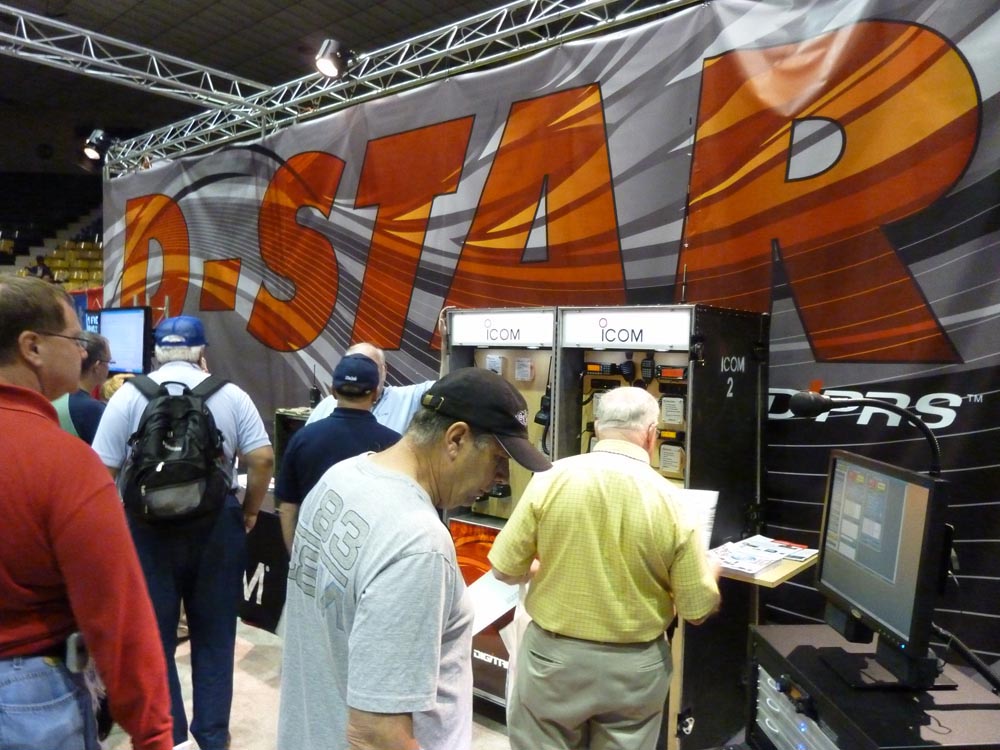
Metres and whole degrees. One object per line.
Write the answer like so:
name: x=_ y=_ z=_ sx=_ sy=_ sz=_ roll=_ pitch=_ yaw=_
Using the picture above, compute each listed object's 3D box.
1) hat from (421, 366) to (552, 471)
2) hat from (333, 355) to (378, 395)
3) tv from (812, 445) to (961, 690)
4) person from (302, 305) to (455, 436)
hat: x=-0.036 y=0.146 z=2.042 sx=0.310 sy=0.184 sz=0.226 roll=28 pitch=1 yaw=-10
hat: x=-0.666 y=-0.021 z=3.532 sx=0.126 sy=0.113 sz=0.211 roll=2 pitch=28 yaw=-3
tv: x=1.202 y=0.606 z=2.418 sx=0.354 sy=0.781 sz=0.429 roll=2 pitch=1 yaw=25
person: x=-0.691 y=-0.069 z=4.497 sx=0.436 sy=0.945 sz=0.238 roll=20 pitch=9 yaw=-2
